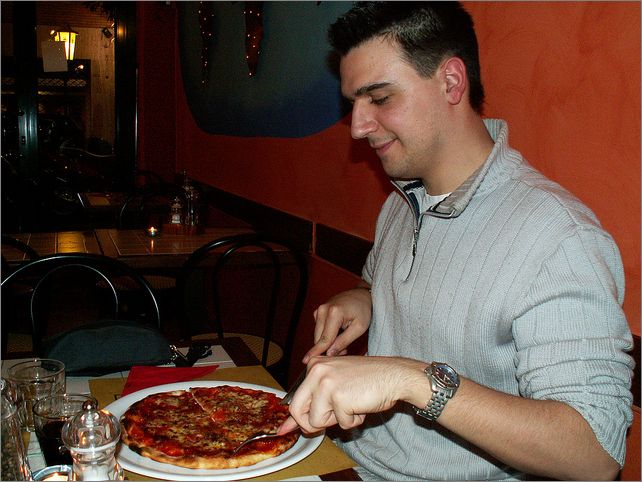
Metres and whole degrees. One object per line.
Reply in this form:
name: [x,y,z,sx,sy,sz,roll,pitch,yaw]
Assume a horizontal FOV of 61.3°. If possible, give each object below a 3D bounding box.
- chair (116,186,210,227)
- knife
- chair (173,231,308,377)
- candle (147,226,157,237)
chair: [-1.158,-0.283,4.018,0.453,0.315,0.590,-1,12,-9]
knife: [-0.023,0.271,1.213,0.029,0.234,0.018,34,-16,-12]
chair: [-0.380,0.277,2.674,0.585,1.054,0.406,-6,16,-23]
candle: [-1.022,-0.058,3.296,0.051,0.024,0.055,15,26,24]
